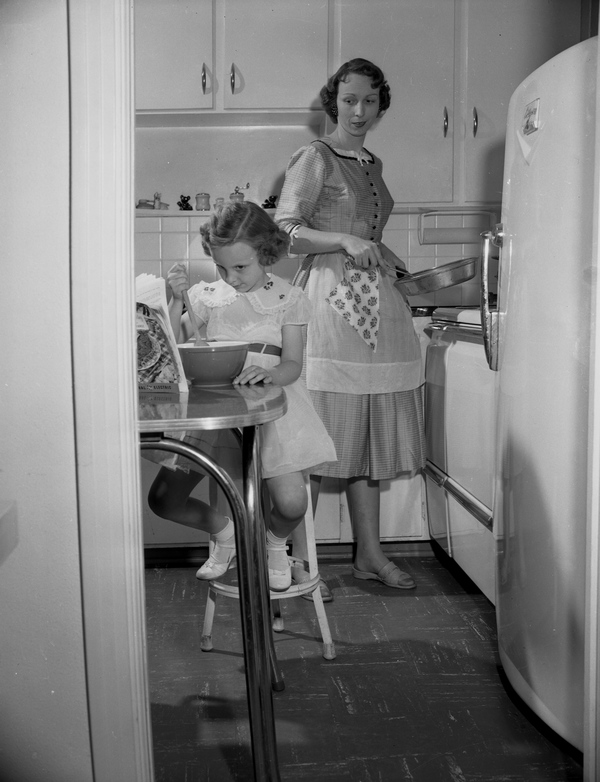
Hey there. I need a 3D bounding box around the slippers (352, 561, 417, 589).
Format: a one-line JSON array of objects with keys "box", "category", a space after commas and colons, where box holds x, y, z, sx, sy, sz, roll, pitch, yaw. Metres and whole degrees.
[{"box": [0.248, 0.534, 2.072, 0.156, 0.060, 0.068, 2, 11, 35], "category": "slippers"}]

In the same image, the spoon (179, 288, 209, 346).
[{"box": [-0.243, -0.168, 1.561, 0.034, 0.176, 0.028, -10, 10, 6], "category": "spoon"}]

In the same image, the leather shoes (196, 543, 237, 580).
[{"box": [-0.187, 0.375, 1.551, 0.054, 0.067, 0.144, -1, -2, 7], "category": "leather shoes"}]

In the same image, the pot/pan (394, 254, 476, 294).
[{"box": [0.355, -0.296, 1.794, 0.229, 0.066, 0.227, 2, 4, 29], "category": "pot/pan"}]

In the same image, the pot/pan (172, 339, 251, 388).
[{"box": [-0.160, -0.047, 1.242, 0.142, 0.080, 0.102, -2, 4, -28], "category": "pot/pan"}]
